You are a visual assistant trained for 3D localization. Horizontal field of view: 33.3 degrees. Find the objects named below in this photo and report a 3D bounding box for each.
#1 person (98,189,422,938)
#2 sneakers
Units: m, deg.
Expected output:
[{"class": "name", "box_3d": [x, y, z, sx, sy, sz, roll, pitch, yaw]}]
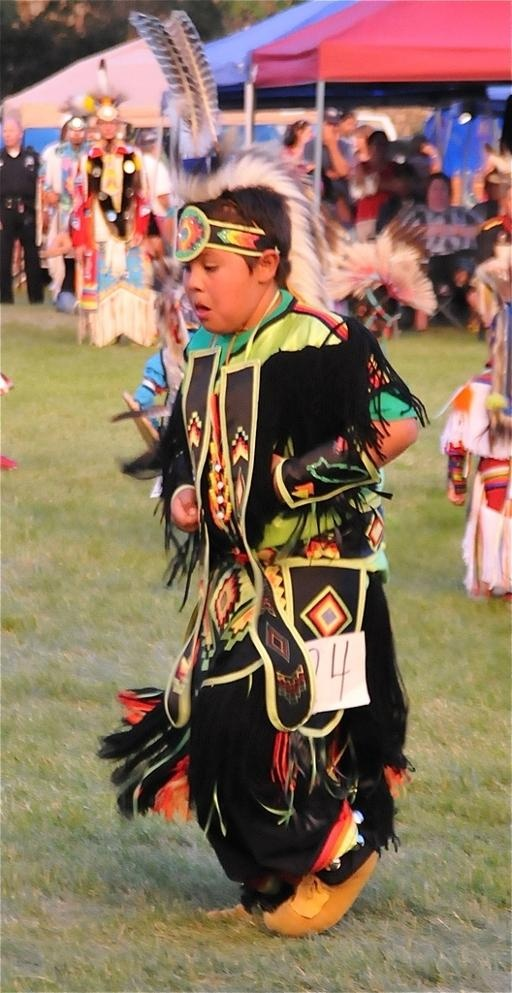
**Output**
[{"class": "person", "box_3d": [0.000, 0.139, 1.507, 0.551, 1.279, 0.367, 4, 11, 13]}, {"class": "sneakers", "box_3d": [0.121, 0.704, 1.548, 0.193, 0.066, 0.105, -39, 18, -16]}]
